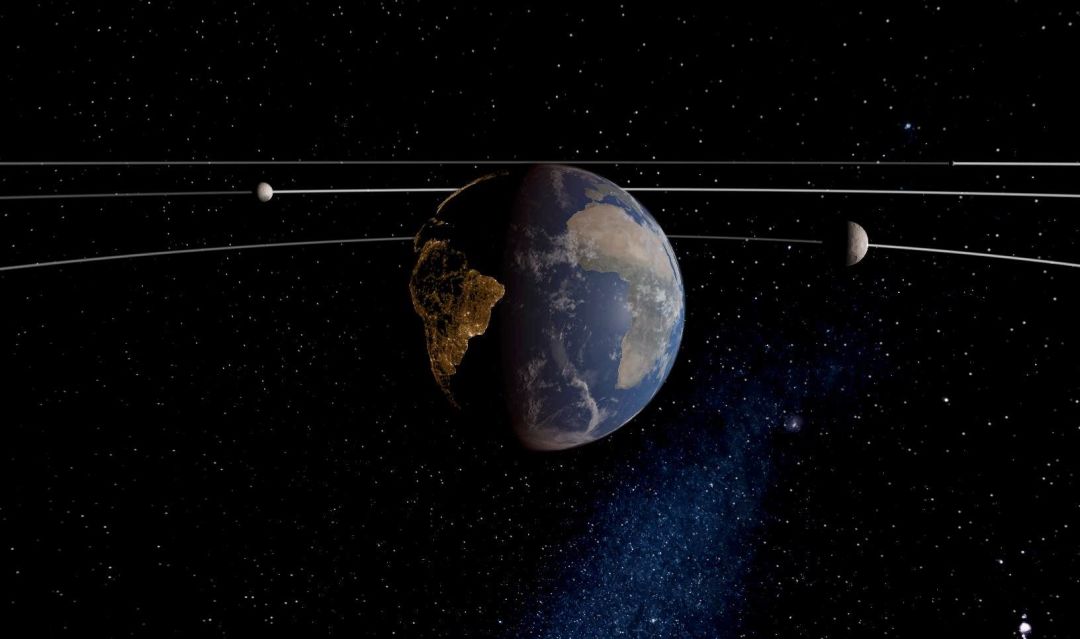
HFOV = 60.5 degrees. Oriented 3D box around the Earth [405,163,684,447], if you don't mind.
[{"bbox_3d":[0.040,-0.089,7.392,2.096,0.907,1.936,15,71,-2],"label":"Earth"}]
